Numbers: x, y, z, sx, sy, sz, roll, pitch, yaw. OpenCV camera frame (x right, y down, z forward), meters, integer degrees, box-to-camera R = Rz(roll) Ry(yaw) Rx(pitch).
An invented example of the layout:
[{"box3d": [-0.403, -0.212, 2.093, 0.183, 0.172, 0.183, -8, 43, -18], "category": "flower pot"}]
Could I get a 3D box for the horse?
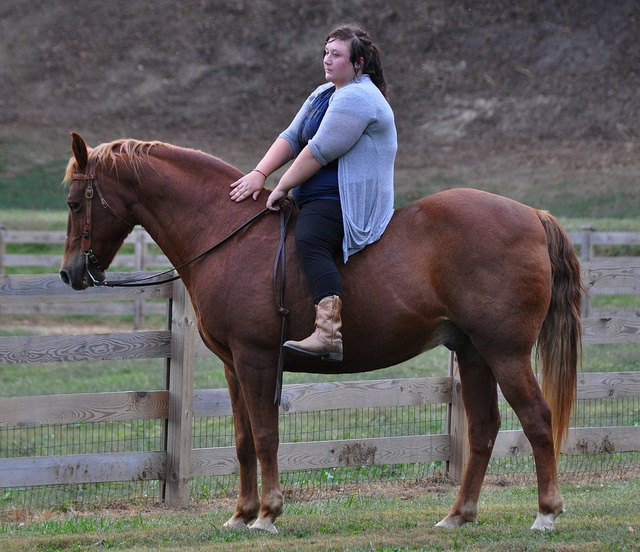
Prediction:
[{"box3d": [-0.042, 1.324, 26.706, 7.673, 5.419, 2.222, 0, -1, 2], "category": "horse"}]
